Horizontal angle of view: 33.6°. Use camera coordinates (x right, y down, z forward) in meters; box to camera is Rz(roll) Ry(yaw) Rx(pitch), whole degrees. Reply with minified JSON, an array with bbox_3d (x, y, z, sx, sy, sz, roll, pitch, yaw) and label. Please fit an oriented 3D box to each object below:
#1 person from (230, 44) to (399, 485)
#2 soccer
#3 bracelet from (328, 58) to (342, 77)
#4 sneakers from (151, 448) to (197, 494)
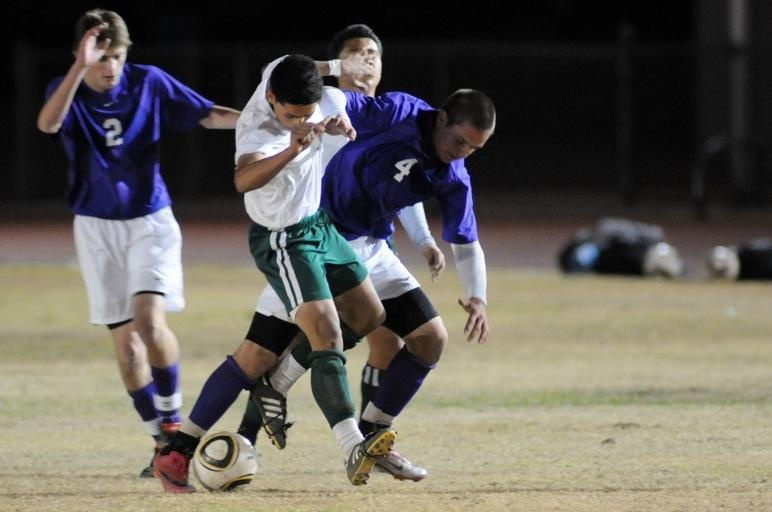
[{"bbox_3d":[-0.534,0.101,9.117,1.102,3.066,0.703,1,6,7],"label":"person"},{"bbox_3d":[-1.133,1.487,9.305,0.477,0.414,0.405,-11,51,-7],"label":"soccer"},{"bbox_3d":[-0.380,-1.415,9.630,0.102,0.113,0.040,-7,9,-35],"label":"bracelet"},{"bbox_3d":[-1.511,1.551,9.214,0.286,0.296,0.198,0,6,-10],"label":"sneakers"}]
